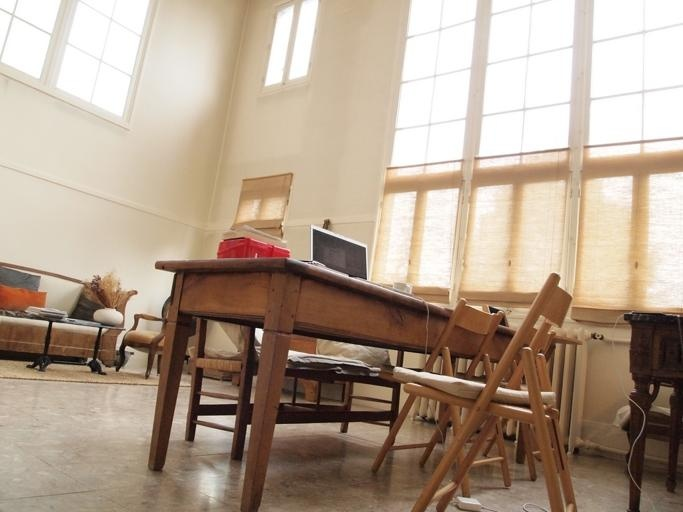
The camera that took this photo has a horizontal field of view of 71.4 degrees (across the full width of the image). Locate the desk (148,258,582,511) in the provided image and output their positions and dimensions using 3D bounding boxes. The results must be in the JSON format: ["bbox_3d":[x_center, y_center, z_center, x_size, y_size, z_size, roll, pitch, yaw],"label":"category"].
[{"bbox_3d":[0.106,0.399,2.394,1.435,1.005,2.025,5,0,40],"label":"desk"}]

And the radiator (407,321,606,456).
[{"bbox_3d":[2.001,1.177,5.431,1.710,2.332,1.497,2,-9,30],"label":"radiator"}]

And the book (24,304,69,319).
[{"bbox_3d":[-3.030,0.595,4.921,0.238,0.072,0.227,4,1,44],"label":"book"}]

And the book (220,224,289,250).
[{"bbox_3d":[-0.651,-0.167,3.919,0.548,0.128,0.537,4,-4,27],"label":"book"}]

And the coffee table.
[{"bbox_3d":[-3.083,1.007,5.462,0.880,0.499,0.449,12,4,-17],"label":"coffee table"}]

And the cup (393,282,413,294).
[{"bbox_3d":[0.434,0.221,3.297,0.118,0.076,0.111,3,-1,0],"label":"cup"}]

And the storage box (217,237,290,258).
[{"bbox_3d":[-0.499,-0.029,2.751,0.355,0.123,0.283,0,-11,32],"label":"storage box"}]
